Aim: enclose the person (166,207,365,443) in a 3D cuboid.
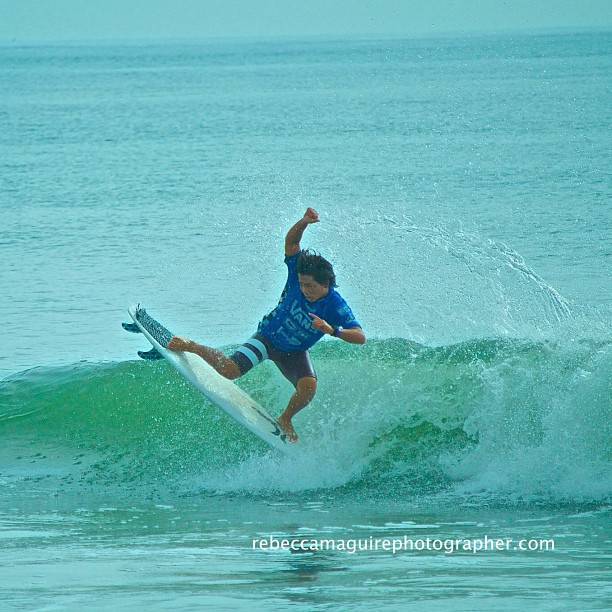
[{"bbox_3d":[-0.109,0.241,10.324,1.454,1.823,1.254,-41,56,-18],"label":"person"}]
